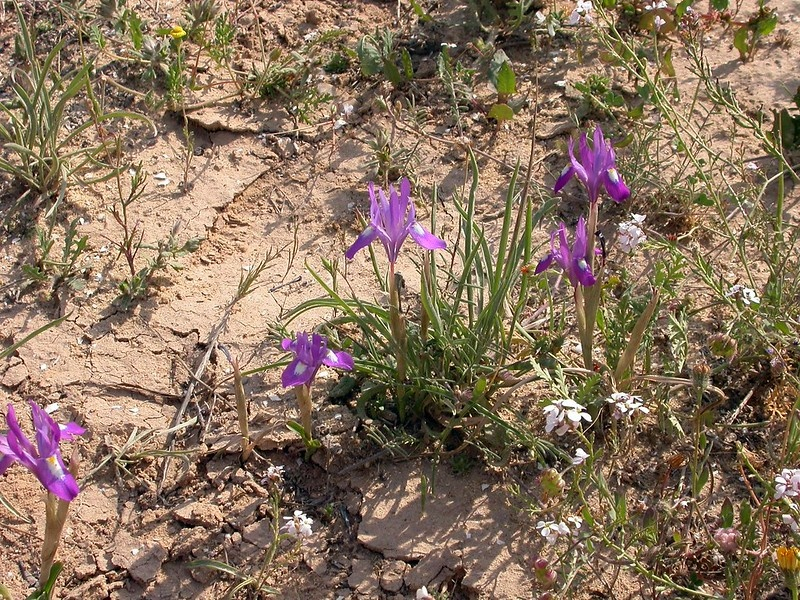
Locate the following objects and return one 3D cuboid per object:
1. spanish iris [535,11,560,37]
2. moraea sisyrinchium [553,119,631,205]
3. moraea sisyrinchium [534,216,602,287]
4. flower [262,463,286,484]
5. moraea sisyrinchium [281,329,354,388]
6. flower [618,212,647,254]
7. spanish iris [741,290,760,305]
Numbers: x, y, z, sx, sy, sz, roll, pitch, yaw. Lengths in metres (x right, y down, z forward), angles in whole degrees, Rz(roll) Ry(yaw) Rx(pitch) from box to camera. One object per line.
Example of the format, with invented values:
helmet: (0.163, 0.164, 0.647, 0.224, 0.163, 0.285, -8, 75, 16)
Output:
spanish iris: (0.939, -1.768, 5.374, 0.142, 0.164, 0.323, -2, 37, 11)
moraea sisyrinchium: (0.838, -0.618, 3.726, 0.323, 0.375, 0.393, -4, 67, 11)
moraea sisyrinchium: (0.725, -0.166, 3.628, 0.257, 0.170, 0.271, -27, 32, -22)
flower: (-0.571, 0.801, 3.801, 0.075, 0.044, 0.088, 22, 56, -19)
moraea sisyrinchium: (-0.360, 0.240, 3.550, 0.307, 0.213, 0.168, -17, 35, -10)
flower: (1.160, -0.321, 4.183, 0.074, 0.179, 0.179, 25, 43, -6)
spanish iris: (1.627, -0.012, 3.920, 0.073, 0.032, 0.087, -11, 69, -33)
